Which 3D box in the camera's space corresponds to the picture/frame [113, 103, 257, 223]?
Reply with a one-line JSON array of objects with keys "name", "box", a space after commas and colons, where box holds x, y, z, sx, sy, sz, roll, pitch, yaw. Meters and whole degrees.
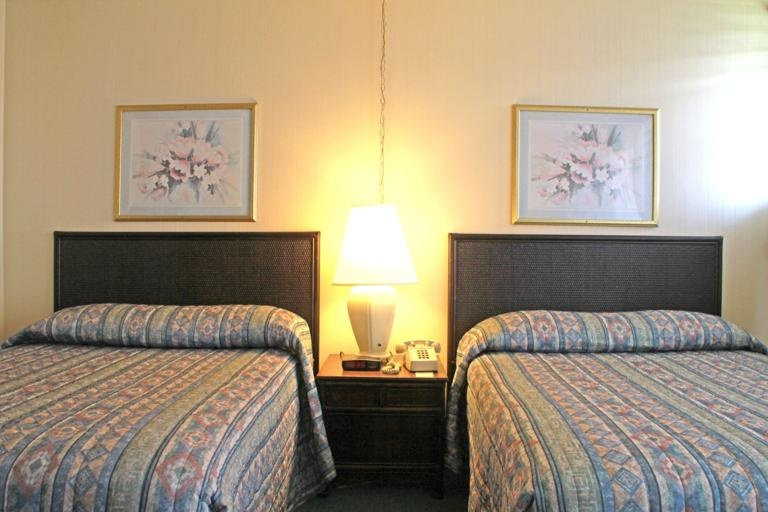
[{"name": "picture/frame", "box": [-1.295, -0.632, 3.967, 0.805, 0.648, 0.057, 0, -5, 1]}]

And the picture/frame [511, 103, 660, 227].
[{"name": "picture/frame", "box": [1.318, -0.602, 3.952, 0.831, 0.649, 0.032, 0, 1, -1]}]

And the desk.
[{"name": "desk", "box": [0.017, 0.967, 3.727, 0.923, 0.874, 0.678, -1, -1, 1]}]

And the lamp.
[{"name": "lamp", "box": [-0.050, 0.140, 3.692, 0.513, 0.954, 0.249, 0, 4, 0]}]

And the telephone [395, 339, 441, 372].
[{"name": "telephone", "box": [0.222, 0.591, 3.758, 0.310, 0.159, 0.304, -2, 6, -6]}]
